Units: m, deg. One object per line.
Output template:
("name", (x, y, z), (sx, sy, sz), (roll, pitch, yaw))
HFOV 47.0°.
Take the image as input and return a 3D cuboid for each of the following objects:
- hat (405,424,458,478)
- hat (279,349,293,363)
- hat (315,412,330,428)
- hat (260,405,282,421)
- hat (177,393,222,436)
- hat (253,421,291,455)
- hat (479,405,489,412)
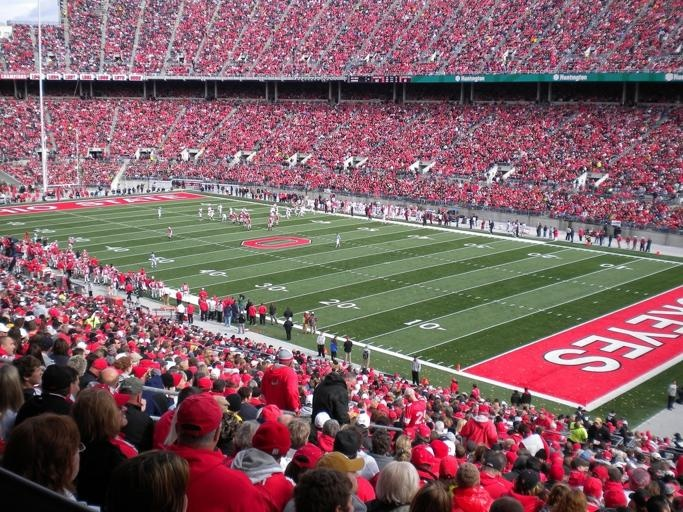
("hat", (1.015, 2.193, 8.807), (0.407, 0.343, 0.658), (0, 2, 11))
("hat", (-0.791, 1.385, 10.922), (0.169, 0.191, 0.196), (15, 29, 25))
("hat", (-0.224, 1.906, 9.081), (0.145, 0.153, 0.188), (4, 2, -39))
("hat", (-0.811, 1.766, 8.730), (0.230, 0.122, 0.321), (2, 8, -1))
("hat", (-1.216, 1.313, 6.774), (0.429, 0.241, 0.613), (0, 11, 0))
("hat", (-0.644, 1.668, 7.272), (0.396, 0.260, 0.293), (9, 9, 0))
("hat", (2.486, 2.724, 13.947), (0.190, 0.100, 0.193), (4, 3, 36))
